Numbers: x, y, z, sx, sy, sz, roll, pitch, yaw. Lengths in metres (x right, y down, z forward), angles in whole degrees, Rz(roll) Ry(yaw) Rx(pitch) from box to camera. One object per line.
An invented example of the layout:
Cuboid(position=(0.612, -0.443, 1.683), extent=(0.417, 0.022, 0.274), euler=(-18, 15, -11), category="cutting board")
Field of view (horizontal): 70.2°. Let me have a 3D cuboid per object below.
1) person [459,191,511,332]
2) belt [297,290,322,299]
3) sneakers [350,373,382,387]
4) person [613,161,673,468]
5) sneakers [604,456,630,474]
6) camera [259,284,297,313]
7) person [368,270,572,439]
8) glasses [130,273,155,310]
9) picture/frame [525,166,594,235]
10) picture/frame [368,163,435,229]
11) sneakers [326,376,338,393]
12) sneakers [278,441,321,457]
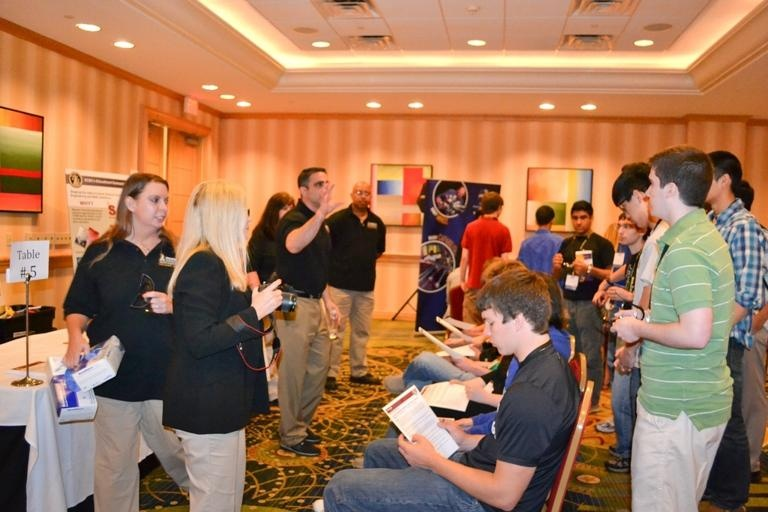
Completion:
Cuboid(position=(1.278, 0.251, 6.609), extent=(0.668, 1.953, 0.531), euler=(6, 9, 31), category="person")
Cuboid(position=(-0.620, 0.320, 4.470), extent=(0.221, 0.081, 0.033), euler=(-3, 11, -29), category="belt")
Cuboid(position=(-0.209, 1.385, 6.062), extent=(0.349, 0.141, 0.125), euler=(0, -4, 2), category="sneakers")
Cuboid(position=(2.038, 0.354, 4.120), extent=(0.551, 1.927, 0.658), euler=(-5, 1, 21), category="person")
Cuboid(position=(1.910, 1.711, 4.468), extent=(0.216, 0.089, 0.080), euler=(2, -1, 22), category="sneakers")
Cuboid(position=(-0.622, 0.250, 3.160), extent=(0.207, 0.115, 0.190), euler=(2, 7, 8), category="camera")
Cuboid(position=(0.519, 0.848, 4.399), extent=(1.339, 0.596, 1.636), euler=(12, 40, 15), category="person")
Cuboid(position=(-1.422, 0.211, 3.217), extent=(0.092, 0.205, 0.190), euler=(12, 0, -21), category="glasses")
Cuboid(position=(2.597, -0.836, 7.992), extent=(1.251, 1.157, 0.046), euler=(-1, -3, 2), category="picture/frame")
Cuboid(position=(0.302, -0.971, 8.709), extent=(1.221, 1.116, 0.116), euler=(2, -2, -1), category="picture/frame")
Cuboid(position=(-0.577, 1.390, 5.892), extent=(0.085, 0.152, 0.161), euler=(3, 5, 0), category="sneakers")
Cuboid(position=(-0.687, 1.582, 4.528), extent=(0.266, 0.094, 0.137), euler=(1, -3, 1), category="sneakers")
